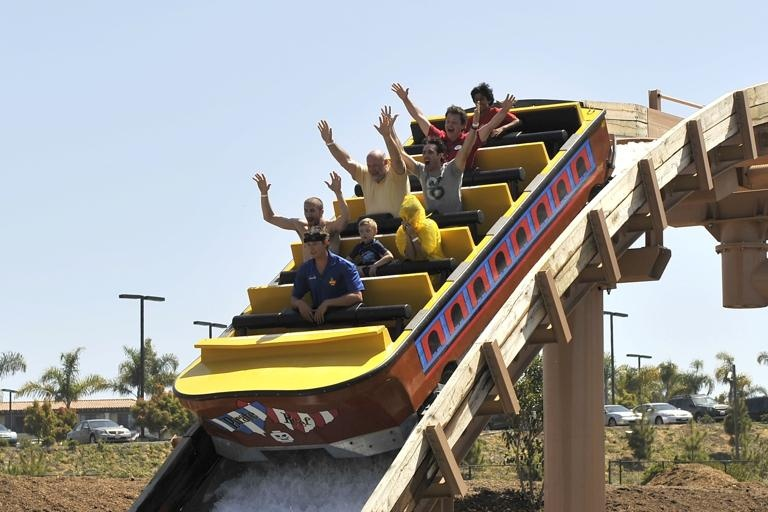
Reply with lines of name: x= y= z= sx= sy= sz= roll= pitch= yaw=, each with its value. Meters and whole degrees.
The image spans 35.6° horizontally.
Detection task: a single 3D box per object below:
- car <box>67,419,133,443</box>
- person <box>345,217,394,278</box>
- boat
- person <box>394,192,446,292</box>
car: x=-11.161 y=6.828 z=47.248 sx=1.928 sy=0.913 sz=3.097 roll=4 pitch=-9 yaw=-26
person: x=-0.360 y=-0.173 z=24.039 sx=0.775 sy=1.155 sz=0.730 roll=3 pitch=10 yaw=45
boat: x=1.276 y=0.652 z=24.784 sx=4.427 sy=9.620 sz=2.939 roll=4 pitch=-38 yaw=44
person: x=0.727 y=-0.194 z=23.724 sx=0.902 sy=1.883 sz=1.050 roll=-22 pitch=-33 yaw=23
